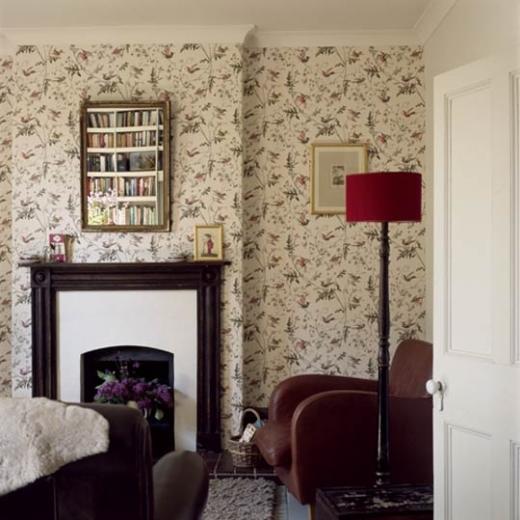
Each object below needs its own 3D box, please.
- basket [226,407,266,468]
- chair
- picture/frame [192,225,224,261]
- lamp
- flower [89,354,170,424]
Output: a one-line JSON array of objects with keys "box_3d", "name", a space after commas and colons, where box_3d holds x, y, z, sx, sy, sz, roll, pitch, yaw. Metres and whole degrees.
[{"box_3d": [-0.063, 1.158, 3.875, 0.301, 0.401, 0.309, 12, -17, -34], "name": "basket"}, {"box_3d": [0.387, 0.834, 3.184, 0.953, 0.875, 0.741, 1, -9, -6], "name": "chair"}, {"box_3d": [-0.345, -0.118, 4.054, 0.216, 0.282, 0.019, 0, -5, -3], "name": "picture/frame"}, {"box_3d": [0.599, 0.312, 2.837, 0.342, 1.512, 0.391, -1, -4, 9], "name": "lamp"}, {"box_3d": [-0.842, 0.885, 4.023, 0.521, 0.476, 0.449, 0, -4, -17], "name": "flower"}]
